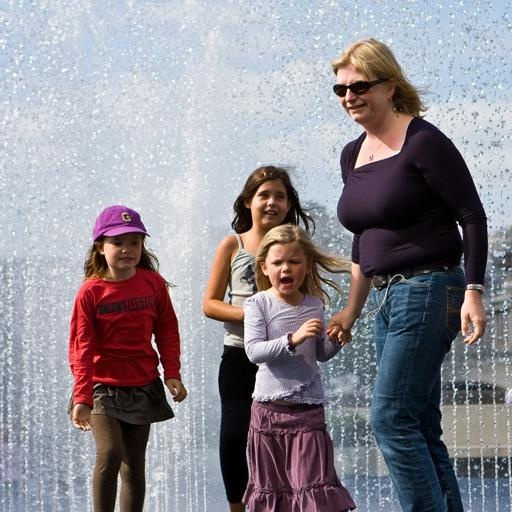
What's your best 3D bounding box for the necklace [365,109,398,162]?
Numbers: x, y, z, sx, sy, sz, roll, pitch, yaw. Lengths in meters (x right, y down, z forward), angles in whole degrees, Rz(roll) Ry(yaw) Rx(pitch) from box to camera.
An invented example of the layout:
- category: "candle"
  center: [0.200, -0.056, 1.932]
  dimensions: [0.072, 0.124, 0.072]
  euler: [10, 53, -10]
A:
- category: "necklace"
  center: [0.804, -0.766, 9.048]
  dimensions: [0.212, 0.319, 0.188]
  euler: [-28, -42, 35]
